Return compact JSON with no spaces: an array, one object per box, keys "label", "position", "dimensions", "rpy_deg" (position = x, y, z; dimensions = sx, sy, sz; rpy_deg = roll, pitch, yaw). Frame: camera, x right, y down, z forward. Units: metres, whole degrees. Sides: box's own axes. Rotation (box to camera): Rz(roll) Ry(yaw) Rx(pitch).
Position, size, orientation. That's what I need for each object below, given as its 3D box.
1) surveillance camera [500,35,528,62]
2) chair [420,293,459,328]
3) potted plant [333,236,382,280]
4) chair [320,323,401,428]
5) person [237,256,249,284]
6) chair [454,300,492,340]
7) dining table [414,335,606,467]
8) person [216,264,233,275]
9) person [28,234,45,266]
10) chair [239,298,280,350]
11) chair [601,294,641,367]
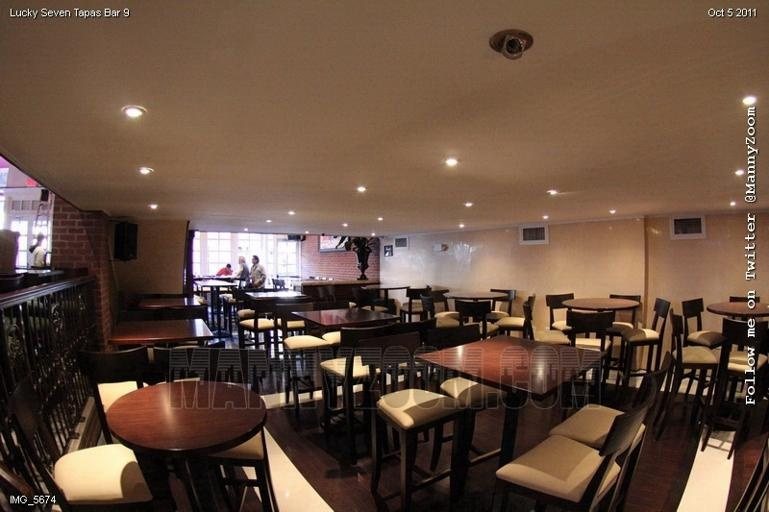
[{"label":"surveillance camera","position":[0.732,-1.160,2.929],"dimensions":[0.158,0.079,0.139],"rpy_deg":[0,-2,2]},{"label":"chair","position":[0.809,0.787,7.680],"dimensions":[0.492,0.691,0.440],"rpy_deg":[-1,3,12]},{"label":"potted plant","position":[-0.668,0.073,12.825],"dimensions":[1.010,1.353,1.168],"rpy_deg":[-3,-3,19]},{"label":"chair","position":[-0.238,1.156,4.939],"dimensions":[0.727,1.050,0.680],"rpy_deg":[2,-3,39]},{"label":"person","position":[-3.121,0.305,11.663],"dimensions":[0.226,0.567,0.841],"rpy_deg":[1,-2,-14]},{"label":"chair","position":[1.166,0.938,7.181],"dimensions":[0.458,0.668,0.501],"rpy_deg":[-1,0,6]},{"label":"dining table","position":[0.988,0.832,4.214],"dimensions":[1.145,1.029,1.121],"rpy_deg":[-5,5,-38]},{"label":"person","position":[-4.278,0.357,13.992],"dimensions":[0.356,0.314,1.217],"rpy_deg":[1,-2,-18]},{"label":"person","position":[-4.598,-0.078,6.959],"dimensions":[0.194,0.461,1.568],"rpy_deg":[1,-2,-34]},{"label":"chair","position":[-1.688,0.981,7.150],"dimensions":[0.432,0.701,0.517],"rpy_deg":[0,-8,-38]},{"label":"chair","position":[3.021,1.121,6.700],"dimensions":[0.335,0.488,0.350],"rpy_deg":[-15,-13,8]}]
